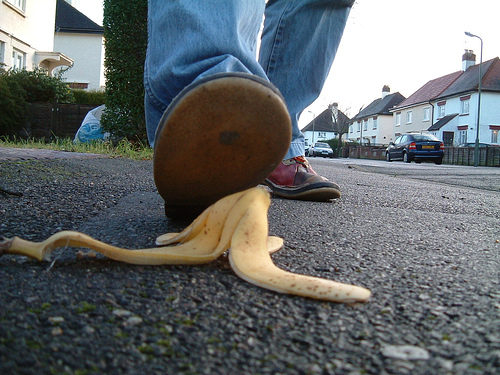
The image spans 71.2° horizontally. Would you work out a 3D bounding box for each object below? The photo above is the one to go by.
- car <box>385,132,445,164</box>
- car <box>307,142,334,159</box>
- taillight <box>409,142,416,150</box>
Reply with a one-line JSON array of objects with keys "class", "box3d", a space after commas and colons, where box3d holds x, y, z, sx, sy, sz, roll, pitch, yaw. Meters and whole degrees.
[{"class": "car", "box3d": [8.313, -2.016, 18.387, 1.435, 1.251, 3.413, 1, 7, -5]}, {"class": "car", "box3d": [6.789, -3.768, 34.617, 1.268, 1.071, 2.938, 2, -1, -6]}, {"class": "taillight", "box3d": [7.969, -2.050, 17.086, 0.192, 0.259, 0.615, 3, 15, 14]}]
